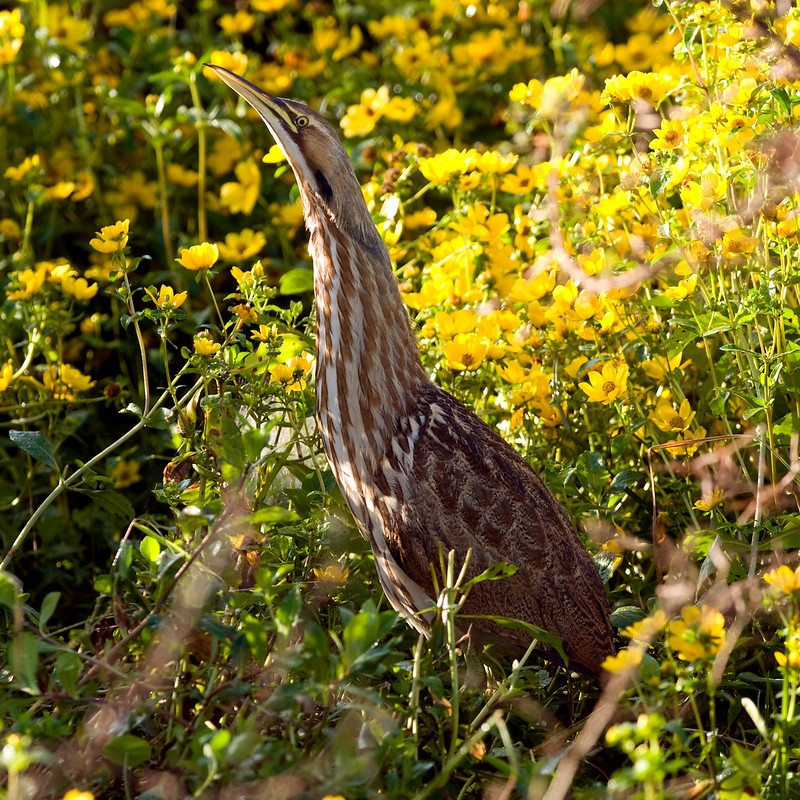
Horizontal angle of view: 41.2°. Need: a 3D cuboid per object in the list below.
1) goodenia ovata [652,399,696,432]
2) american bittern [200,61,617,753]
[{"bbox_3d":[0.709,0.047,2.756,0.094,0.090,0.050,-18,-26,14],"label":"goodenia ovata"},{"bbox_3d":[0.338,0.152,3.662,1.755,1.801,0.684,9,-4,-4],"label":"american bittern"}]
